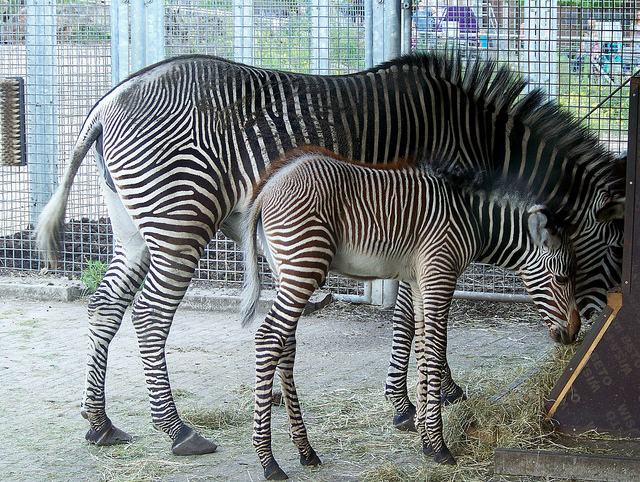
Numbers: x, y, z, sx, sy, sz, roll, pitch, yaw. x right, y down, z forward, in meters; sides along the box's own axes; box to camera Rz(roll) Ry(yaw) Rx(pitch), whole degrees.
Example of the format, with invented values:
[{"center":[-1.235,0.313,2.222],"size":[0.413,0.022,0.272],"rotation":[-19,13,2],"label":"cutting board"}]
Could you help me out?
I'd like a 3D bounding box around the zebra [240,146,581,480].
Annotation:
[{"center":[0.538,0.385,4.949],"size":[2.044,1.972,0.715],"rotation":[-4,11,-18],"label":"zebra"}]
